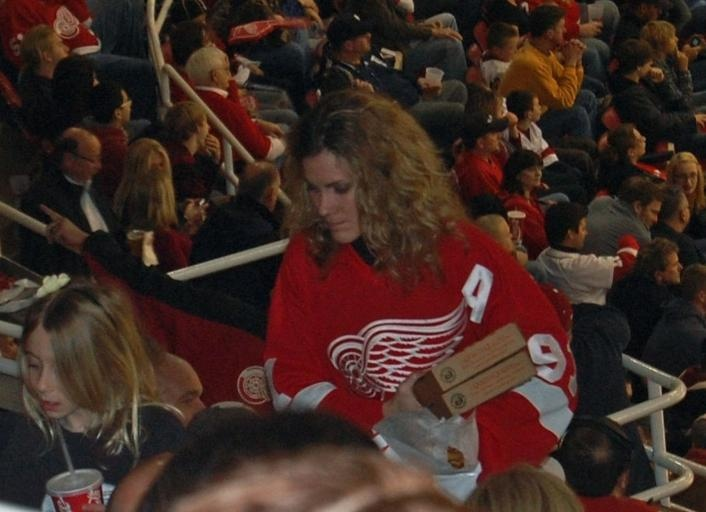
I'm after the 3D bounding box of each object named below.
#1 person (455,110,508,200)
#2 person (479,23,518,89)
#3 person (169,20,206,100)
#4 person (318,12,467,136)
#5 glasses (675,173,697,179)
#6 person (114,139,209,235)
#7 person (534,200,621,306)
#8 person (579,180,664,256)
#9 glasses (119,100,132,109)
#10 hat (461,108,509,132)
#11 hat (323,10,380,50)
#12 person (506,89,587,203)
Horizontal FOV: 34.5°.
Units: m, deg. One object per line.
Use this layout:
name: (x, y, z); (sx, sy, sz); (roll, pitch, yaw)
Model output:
person: (1.130, -0.881, 9.974); (0.518, 0.789, 0.609); (-3, 30, 13)
person: (1.467, -1.984, 11.328); (0.422, 0.630, 0.733); (2, 60, 12)
person: (-1.367, -1.632, 9.465); (0.289, 0.285, 0.763); (3, -20, -16)
person: (0.486, -1.595, 10.587); (1.240, 1.386, 0.622); (-10, 30, 13)
glasses: (3.189, -0.772, 10.859); (0.169, 0.072, 0.046); (11, 16, -6)
person: (-1.416, -0.494, 8.230); (0.570, 0.698, 0.526); (-10, 24, -24)
person: (1.954, -0.020, 9.606); (0.681, 0.877, 0.762); (-12, 24, -9)
person: (2.391, -0.310, 10.021); (0.386, 0.694, 0.341); (7, 44, -34)
glasses: (-1.730, -1.140, 8.611); (0.089, 0.023, 0.085); (25, 21, 0)
hat: (1.155, -1.163, 9.736); (0.324, 0.108, 0.190); (-2, 34, -9)
hat: (0.002, -2.018, 10.045); (0.390, 0.221, 0.267); (-30, 27, 0)
person: (1.935, -1.011, 10.868); (0.725, 1.176, 0.431); (-18, 24, -5)
